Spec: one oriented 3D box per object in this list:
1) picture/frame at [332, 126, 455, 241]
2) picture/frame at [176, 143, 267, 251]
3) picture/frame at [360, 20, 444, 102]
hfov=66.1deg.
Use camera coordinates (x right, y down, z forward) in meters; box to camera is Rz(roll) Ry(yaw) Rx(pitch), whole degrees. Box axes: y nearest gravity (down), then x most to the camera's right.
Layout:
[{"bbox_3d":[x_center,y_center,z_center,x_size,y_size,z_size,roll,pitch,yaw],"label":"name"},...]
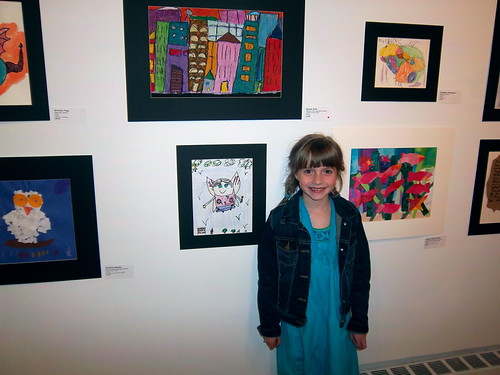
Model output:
[{"bbox_3d":[0.702,-0.043,1.955,0.519,0.480,0.028,-5,13,-8],"label":"picture/frame"},{"bbox_3d":[-0.151,0.021,1.862,0.454,0.564,0.023,-4,14,-10],"label":"picture/frame"},{"bbox_3d":[0.722,-0.635,1.883,0.371,0.388,0.018,0,14,-9],"label":"picture/frame"}]
